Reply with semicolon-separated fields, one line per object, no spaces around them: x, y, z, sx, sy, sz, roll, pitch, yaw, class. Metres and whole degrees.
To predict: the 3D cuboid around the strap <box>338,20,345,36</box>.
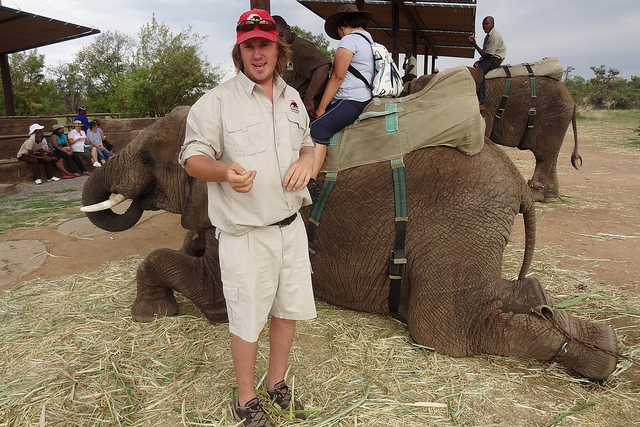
0.204;-1.891;4.075;0.076;0.140;0.020;9;18;32;strap

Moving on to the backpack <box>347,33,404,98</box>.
0.493;-1.370;3.890;0.585;0.550;0.391;-2;16;20;backpack

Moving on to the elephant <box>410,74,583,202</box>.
3.067;-1.529;7.876;4.441;2.469;1.455;3;4;-11;elephant

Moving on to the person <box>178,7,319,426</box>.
-0.445;0.055;2.845;0.930;2.845;0.730;-8;16;-24;person

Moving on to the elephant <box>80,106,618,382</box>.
0.143;0.073;4.310;5.235;2.283;2.186;4;15;3;elephant

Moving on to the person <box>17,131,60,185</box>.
-8.024;-1.577;11.325;0.809;1.348;0.489;-12;18;-35;person
